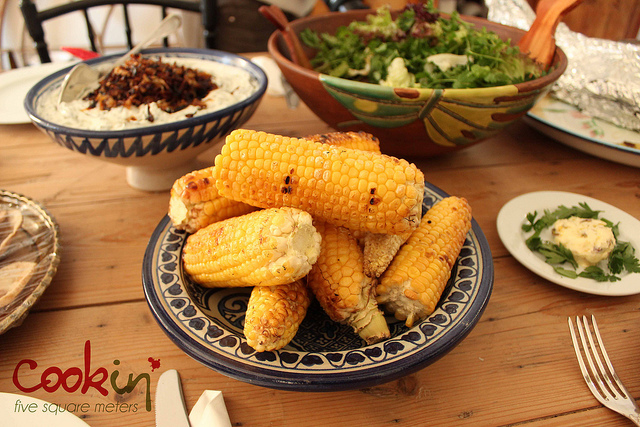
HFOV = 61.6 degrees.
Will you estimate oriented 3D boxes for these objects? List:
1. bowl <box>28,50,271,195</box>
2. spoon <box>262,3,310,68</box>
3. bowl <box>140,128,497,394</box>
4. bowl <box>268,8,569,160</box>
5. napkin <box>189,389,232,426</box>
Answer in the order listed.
[{"bbox_3d":[-0.456,-0.329,1.561,0.538,0.229,0.544,1,34,-1],"label":"bowl"},{"bbox_3d":[-0.101,-0.539,1.613,0.054,0.281,0.064,31,76,32],"label":"spoon"},{"bbox_3d":[-0.009,0.093,1.214,0.822,0.320,0.555,15,49,5],"label":"bowl"},{"bbox_3d":[0.295,-0.418,1.610,0.650,0.236,0.632,1,35,-1],"label":"bowl"},{"bbox_3d":[-0.237,0.424,1.159,0.089,0.032,0.077,-3,50,-11],"label":"napkin"}]
